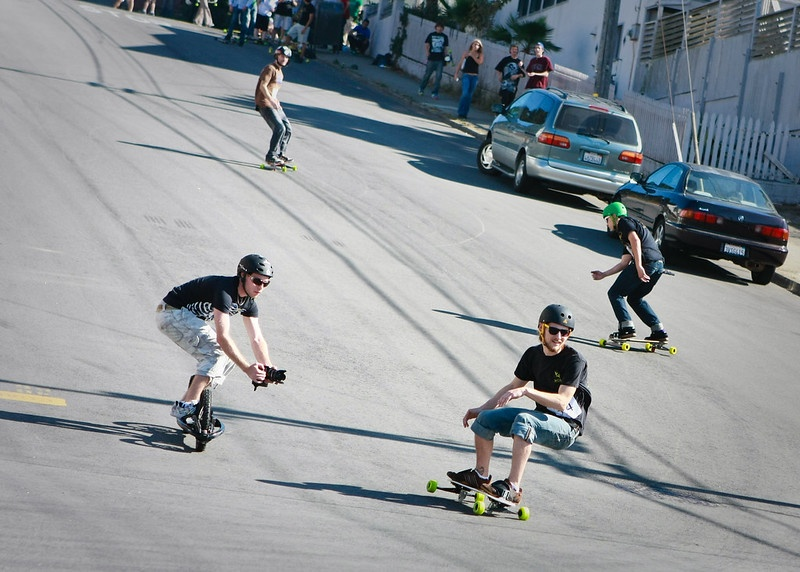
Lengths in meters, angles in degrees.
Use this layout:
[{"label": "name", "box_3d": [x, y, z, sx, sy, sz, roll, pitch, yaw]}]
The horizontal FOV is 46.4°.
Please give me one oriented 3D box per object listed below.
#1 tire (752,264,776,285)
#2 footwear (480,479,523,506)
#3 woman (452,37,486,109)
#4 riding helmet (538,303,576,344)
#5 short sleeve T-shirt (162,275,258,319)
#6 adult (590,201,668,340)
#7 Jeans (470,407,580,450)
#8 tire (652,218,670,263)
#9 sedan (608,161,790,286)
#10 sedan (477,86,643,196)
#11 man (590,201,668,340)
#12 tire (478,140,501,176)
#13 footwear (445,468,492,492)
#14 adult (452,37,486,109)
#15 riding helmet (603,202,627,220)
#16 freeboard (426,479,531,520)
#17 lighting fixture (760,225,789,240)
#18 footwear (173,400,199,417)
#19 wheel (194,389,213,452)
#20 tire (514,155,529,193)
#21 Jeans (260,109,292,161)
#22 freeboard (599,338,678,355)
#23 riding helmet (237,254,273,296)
[{"label": "tire", "box_3d": [6.316, -0.207, 16.441, 0.110, 0.307, 0.297, 0, -11, -17]}, {"label": "footwear", "box_3d": [0.901, 1.796, 8.240, 0.421, 0.170, 0.155, 25, -11, -9]}, {"label": "woman", "box_3d": [1.960, -6.054, 27.312, 0.629, 2.300, 1.684, 13, 17, 1]}, {"label": "riding helmet", "box_3d": [1.388, 0.327, 8.364, 0.248, 0.309, 0.322, 4, -12, -5]}, {"label": "short sleeve T-shirt", "box_3d": [-1.708, 0.100, 8.595, 0.688, 0.284, 0.414, 15, 18, 34]}, {"label": "adult", "box_3d": [3.203, -0.181, 12.846, 1.241, 1.671, 0.982, 18, 17, 14]}, {"label": "Jeans", "box_3d": [1.111, 1.194, 8.286, 0.649, 0.231, 0.426, 14, -7, -12]}, {"label": "tire", "box_3d": [4.785, -0.891, 17.230, 0.270, 0.810, 0.799, -3, -9, 10]}, {"label": "sedan", "box_3d": [5.236, -1.307, 17.452, 1.729, 1.297, 3.847, 7, 15, -17]}, {"label": "sedan", "box_3d": [3.339, -2.949, 19.839, 3.316, 2.257, 1.592, 25, 20, 32]}, {"label": "man", "box_3d": [3.207, -0.184, 12.857, 1.240, 1.671, 1.007, 17, 17, 11]}, {"label": "tire", "box_3d": [2.048, -2.894, 21.225, 0.731, 0.770, 0.266, -9, -10, 43]}, {"label": "footwear", "box_3d": [0.610, 1.721, 8.341, 0.402, 0.178, 0.150, 17, -22, 11]}, {"label": "adult", "box_3d": [1.963, -6.053, 27.312, 0.623, 2.300, 1.684, 13, 17, 1]}, {"label": "riding helmet", "box_3d": [2.952, -1.039, 12.893, 0.267, 0.239, 0.448, 17, 17, 10]}, {"label": "freeboard", "box_3d": [0.707, 1.877, 8.273, 0.675, 0.166, 0.415, 20, 3, 41]}, {"label": "lighting fixture", "box_3d": [6.398, -0.927, 16.172, 0.587, 0.199, 0.128, 12, 17, -9]}, {"label": "footwear", "box_3d": [-1.927, 1.128, 8.542, 0.274, 0.128, 0.104, -10, 46, -9]}, {"label": "wheel", "box_3d": [-1.773, 1.207, 8.611, 0.154, 0.353, 0.672, -4, 21, -7]}, {"label": "tire", "box_3d": [2.576, -2.380, 19.784, 0.236, 0.772, 0.747, 2, -5, -7]}, {"label": "Jeans", "box_3d": [-2.305, -2.873, 17.593, 0.641, 0.940, 0.861, 10, 17, -10]}, {"label": "freeboard", "box_3d": [3.139, 0.802, 12.640, 0.796, 0.162, 0.408, 4, 5, -18]}, {"label": "riding helmet", "box_3d": [-1.265, -0.097, 8.508, 0.358, 0.363, 0.291, 1, -3, 43]}]
